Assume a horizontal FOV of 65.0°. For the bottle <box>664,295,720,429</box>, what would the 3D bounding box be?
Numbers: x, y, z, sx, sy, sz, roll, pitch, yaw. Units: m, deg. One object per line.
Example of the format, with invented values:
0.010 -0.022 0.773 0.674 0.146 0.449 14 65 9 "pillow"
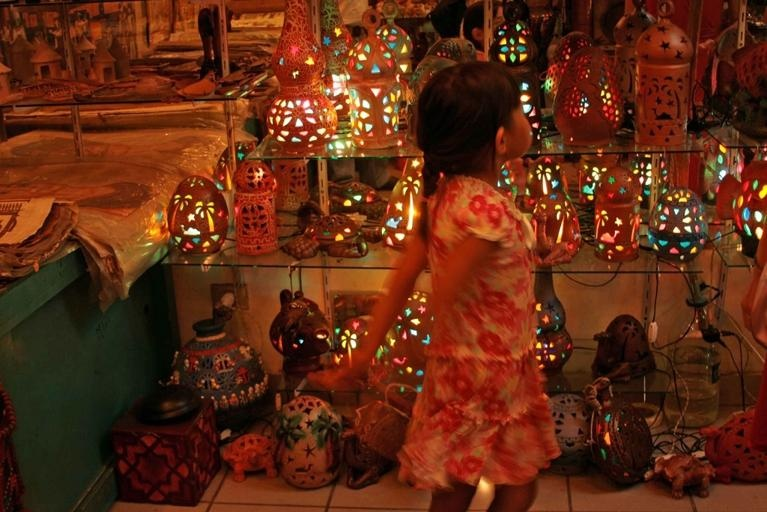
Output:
1.300 0.480 2.550 0.187 0.527 0.119 5 6 21 "bottle"
